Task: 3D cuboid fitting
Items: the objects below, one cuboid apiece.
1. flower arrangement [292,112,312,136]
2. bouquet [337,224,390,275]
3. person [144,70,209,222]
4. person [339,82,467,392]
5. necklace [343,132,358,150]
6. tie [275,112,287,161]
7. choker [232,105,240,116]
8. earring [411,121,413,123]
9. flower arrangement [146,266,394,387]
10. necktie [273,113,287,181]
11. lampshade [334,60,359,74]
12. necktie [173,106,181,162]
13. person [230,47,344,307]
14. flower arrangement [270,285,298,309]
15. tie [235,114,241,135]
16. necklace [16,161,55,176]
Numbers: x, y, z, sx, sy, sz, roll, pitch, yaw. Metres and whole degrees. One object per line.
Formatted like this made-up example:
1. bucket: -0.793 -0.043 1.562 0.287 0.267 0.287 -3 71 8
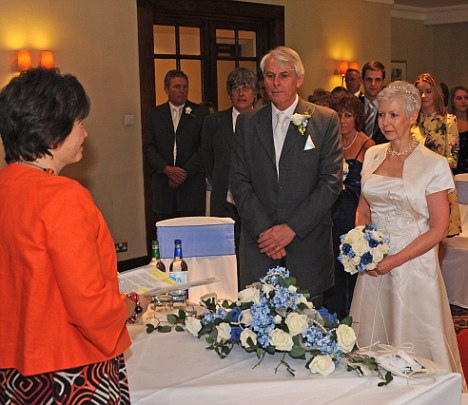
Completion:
1. flower arrangement: 0.405 -0.464 2.689 0.152 0.135 0.062 -9 11 -33
2. bouquet: 0.666 0.262 2.344 0.218 0.244 0.230 -8 -28 34
3. person: -0.642 -0.347 5.160 0.689 2.240 0.556 1 23 -3
4. person: 0.919 0.209 2.441 0.665 1.693 0.650 -1 9 15
5. necklace: 0.956 -0.511 3.724 0.010 0.183 0.114 17 -5 -35
6. tie: 0.265 -0.398 2.743 0.048 0.301 0.042 0 -6 11
7. choker: 0.006 -0.864 4.252 0.079 0.070 0.094 -7 12 -35
8. earring: 0.975 -0.442 2.495 0.009 0.003 0.009 -10 12 -39
9. flower arrangement: 0.086 0.427 1.578 0.519 0.262 0.202 -2 -5 35
10. necktie: 0.287 -0.339 2.754 0.054 0.439 0.058 2 -7 1
11. lampshade: 1.839 -2.243 7.552 0.477 0.269 0.185 -4 11 -20
12. necktie: -0.629 -0.756 4.958 0.099 0.589 0.154 -2 9 4
13. person: 0.315 -0.138 2.763 0.691 1.574 0.404 -3 9 2
14. flower arrangement: 0.168 0.309 1.497 0.063 0.044 0.067 3 -1 -9
15. tie: 0.018 -0.494 2.847 0.019 0.090 0.061 6 -6 -6
16. necklace: -0.565 -0.098 1.287 0.098 0.044 0.043 -8 10 -24
